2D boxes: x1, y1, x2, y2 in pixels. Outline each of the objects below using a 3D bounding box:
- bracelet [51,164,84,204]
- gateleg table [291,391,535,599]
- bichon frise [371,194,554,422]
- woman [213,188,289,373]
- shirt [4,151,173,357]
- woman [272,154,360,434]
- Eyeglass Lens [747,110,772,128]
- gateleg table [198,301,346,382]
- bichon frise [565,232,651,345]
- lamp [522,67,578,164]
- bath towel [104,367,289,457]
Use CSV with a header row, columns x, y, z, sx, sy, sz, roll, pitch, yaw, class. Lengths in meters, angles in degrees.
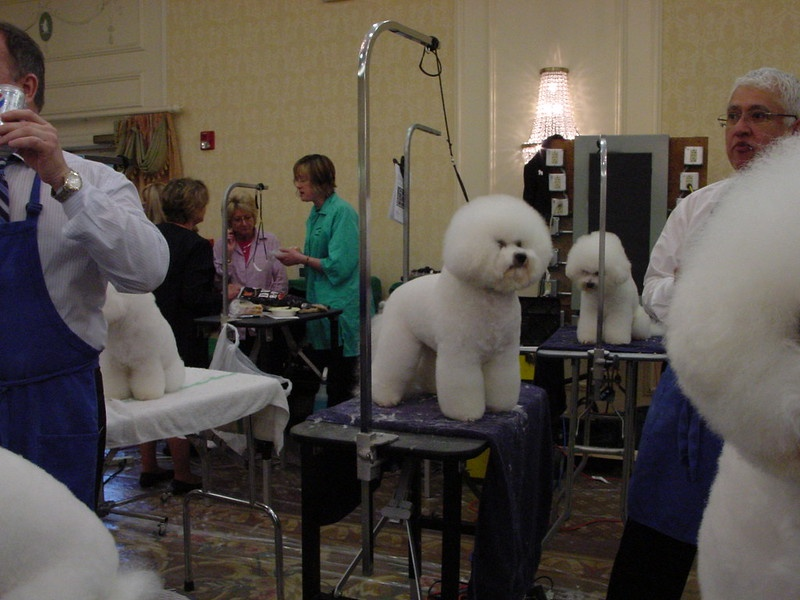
x,y,z,sx,sy,sz,roll,pitch,yaw,class
-0.882,-0.301,2.011,0.078,0.086,0.037,-2,7,-22,bracelet
0.052,0.689,2.392,0.546,0.325,0.561,15,-5,24,gateleg table
0.201,0.033,2.511,0.420,0.692,0.639,-5,6,-33,bichon frise
-1.135,0.031,5.585,0.578,1.596,0.525,-8,19,-17,woman
-0.846,-0.142,2.095,0.516,0.519,0.196,-3,11,-6,shirt
-0.556,-0.029,5.416,0.621,1.963,0.605,-8,19,-25,woman
1.049,-0.532,2.211,0.068,0.041,0.011,2,7,18,Eyeglass Lens
-0.681,0.386,4.895,0.497,0.443,0.625,-6,-15,-24,gateleg table
1.089,-0.057,3.810,0.316,0.546,0.824,4,7,35,bichon frise
1.112,-1.404,5.673,0.371,0.692,0.348,2,6,9,lamp
-0.715,0.485,3.146,0.582,0.219,0.607,-17,0,-2,bath towel
